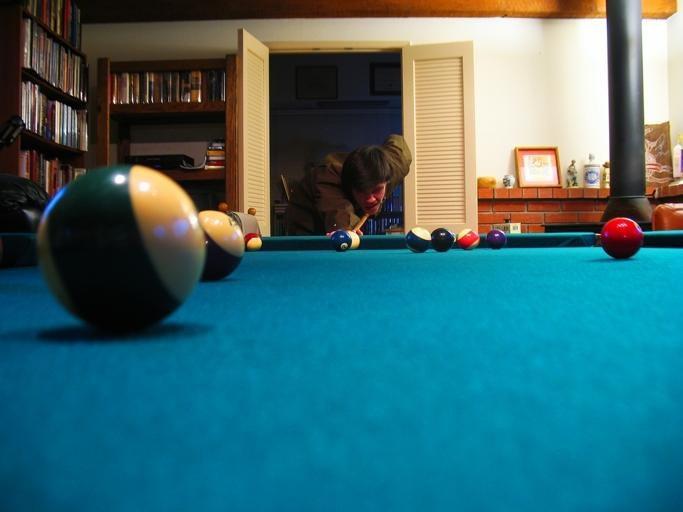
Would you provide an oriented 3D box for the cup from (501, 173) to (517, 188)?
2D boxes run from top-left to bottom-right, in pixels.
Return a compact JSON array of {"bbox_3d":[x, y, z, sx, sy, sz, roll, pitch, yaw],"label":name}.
[{"bbox_3d":[1.366,-0.614,5.005,0.100,0.107,0.101,2,-6,0],"label":"cup"}]

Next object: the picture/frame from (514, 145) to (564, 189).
[{"bbox_3d":[1.606,-0.728,5.006,0.351,0.329,0.133,-1,5,2],"label":"picture/frame"}]

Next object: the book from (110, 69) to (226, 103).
[{"bbox_3d":[-1.368,-1.322,4.815,0.885,0.266,0.098,-2,5,2],"label":"book"}]
